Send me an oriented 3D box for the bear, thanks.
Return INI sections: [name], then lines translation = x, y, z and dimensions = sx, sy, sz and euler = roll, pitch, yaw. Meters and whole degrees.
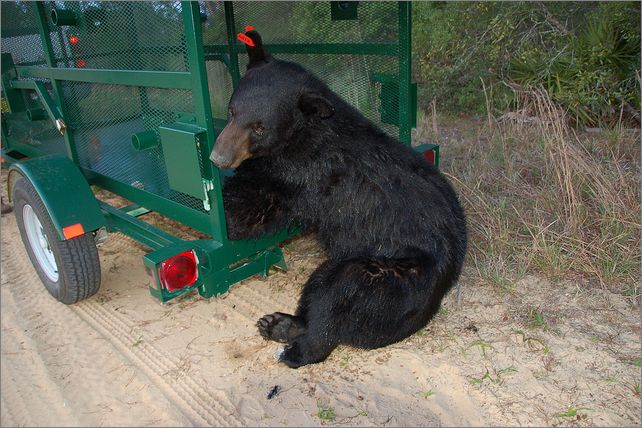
[bear]
translation = 0.167, -0.098, 5.048
dimensions = 2.713, 2.465, 2.378
euler = 23, 16, 17
